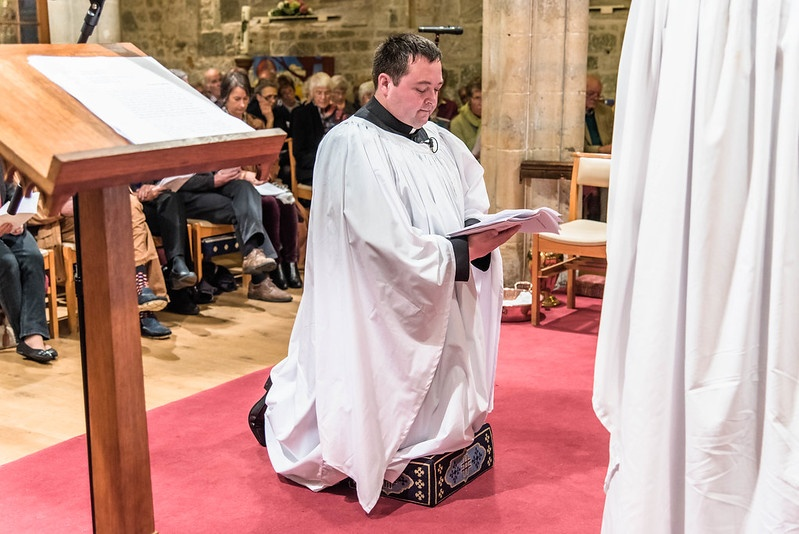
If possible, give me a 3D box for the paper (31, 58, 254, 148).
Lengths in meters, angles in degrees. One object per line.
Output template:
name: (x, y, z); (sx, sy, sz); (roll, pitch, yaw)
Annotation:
paper: (-0.821, -0.534, 2.800); (0.534, 0.269, 0.419); (6, 16, 33)
